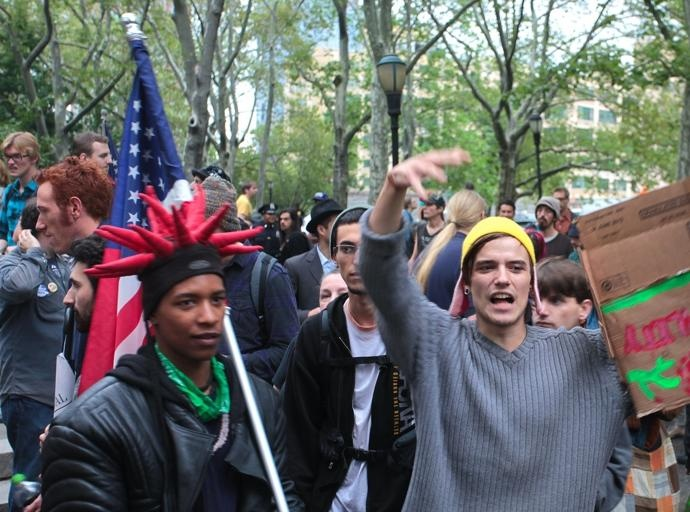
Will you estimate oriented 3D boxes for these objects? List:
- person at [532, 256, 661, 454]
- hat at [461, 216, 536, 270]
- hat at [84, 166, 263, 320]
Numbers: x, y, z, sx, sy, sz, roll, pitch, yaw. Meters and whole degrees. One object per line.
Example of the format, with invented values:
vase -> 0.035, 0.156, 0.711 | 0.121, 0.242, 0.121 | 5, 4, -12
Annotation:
person -> 1.577, 0.559, 5.197 | 1.054, 1.029, 0.284 | 6, 1, -1
hat -> 0.829, -0.084, 4.273 | 0.290, 0.187, 0.298 | 0, -21, 4
hat -> -0.870, -0.040, 3.977 | 0.724, 0.436, 0.756 | -6, 2, 26
